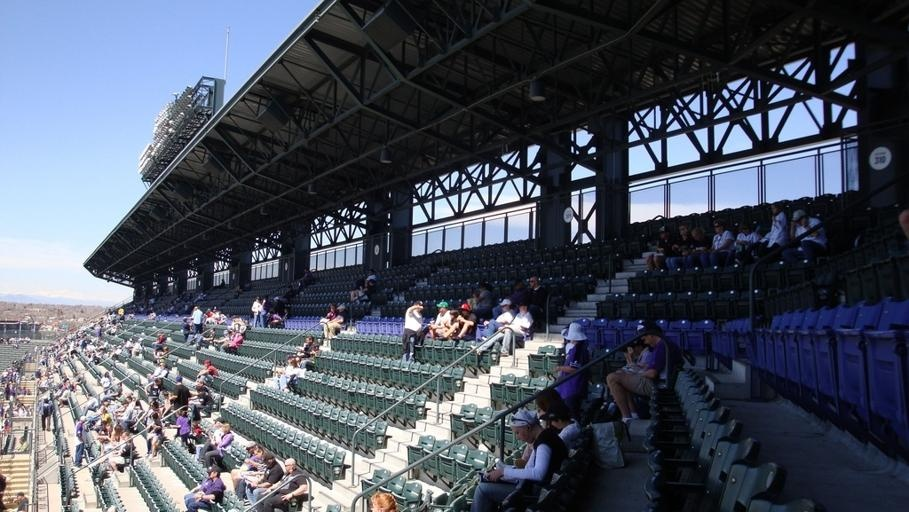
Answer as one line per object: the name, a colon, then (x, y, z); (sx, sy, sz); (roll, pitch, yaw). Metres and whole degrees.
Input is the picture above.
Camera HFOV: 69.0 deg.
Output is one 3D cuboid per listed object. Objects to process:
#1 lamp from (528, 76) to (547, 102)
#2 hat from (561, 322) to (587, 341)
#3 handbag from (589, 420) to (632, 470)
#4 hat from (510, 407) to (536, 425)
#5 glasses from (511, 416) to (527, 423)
lamp: (2.504, -4.950, 19.807); (0.434, 0.662, 1.168); (-1, -8, 9)
hat: (2.532, 1.687, 14.047); (0.605, 0.282, 0.624); (-1, 8, -1)
handbag: (2.669, 3.319, 11.621); (0.675, 0.831, 0.713); (-6, -4, 8)
hat: (1.225, 2.852, 11.635); (0.362, 0.307, 0.288); (1, -10, 23)
glasses: (1.193, 2.897, 11.629); (0.188, 0.139, 0.140); (10, -16, 10)
